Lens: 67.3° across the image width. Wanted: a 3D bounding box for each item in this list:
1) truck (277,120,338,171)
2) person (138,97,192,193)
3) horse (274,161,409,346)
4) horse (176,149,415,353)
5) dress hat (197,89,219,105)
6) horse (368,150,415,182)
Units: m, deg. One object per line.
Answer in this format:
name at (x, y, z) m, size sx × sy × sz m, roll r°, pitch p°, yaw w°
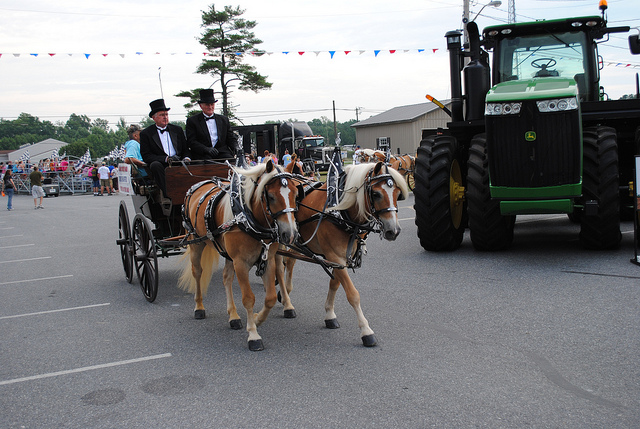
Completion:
truck at (-1.654, -5.790, 41.238) m, size 2.569 × 3.954 × 7.707 m, roll -11°, pitch 16°, yaw -35°
person at (-2.826, -1.273, 8.820) m, size 0.924 × 1.605 × 1.231 m, roll -7°, pitch 11°, yaw -19°
horse at (0.155, 0.461, 6.608) m, size 1.992 × 2.319 × 0.912 m, roll 6°, pitch 14°, yaw 39°
horse at (-0.399, 0.330, 7.287) m, size 2.516 × 2.441 × 3.413 m, roll 1°, pitch -2°, yaw -41°
dress hat at (-2.111, -2.205, 9.059) m, size 0.296 × 0.245 × 0.339 m, roll -5°, pitch 11°, yaw -12°
horse at (2.907, -1.706, 18.571) m, size 2.773 × 1.539 × 0.786 m, roll -9°, pitch 10°, yaw -41°
